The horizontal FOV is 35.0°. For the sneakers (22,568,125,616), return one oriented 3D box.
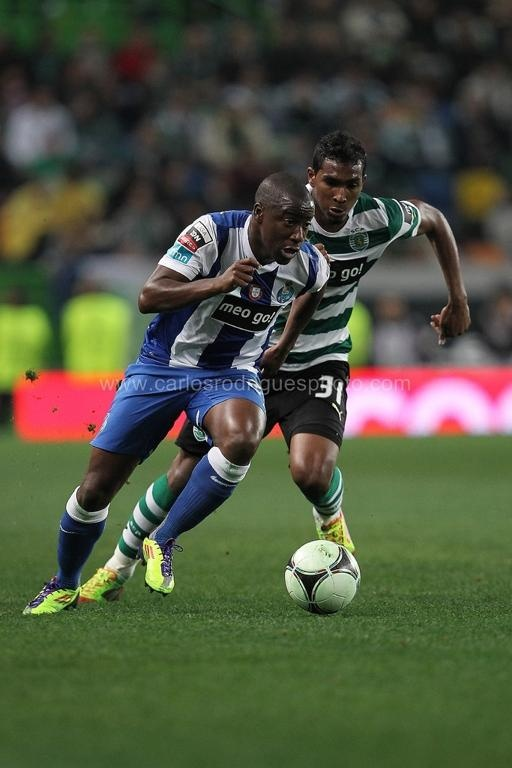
[{"bbox_3d":[-0.704,0.819,3.164,0.127,0.158,0.390,45,25,26],"label":"sneakers"}]

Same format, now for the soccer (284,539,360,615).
[{"bbox_3d":[0.250,0.718,3.044,0.269,0.220,0.244,7,-11,10],"label":"soccer"}]

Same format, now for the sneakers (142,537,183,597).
[{"bbox_3d":[-0.383,0.740,3.358,0.099,0.142,0.269,42,6,-35],"label":"sneakers"}]
